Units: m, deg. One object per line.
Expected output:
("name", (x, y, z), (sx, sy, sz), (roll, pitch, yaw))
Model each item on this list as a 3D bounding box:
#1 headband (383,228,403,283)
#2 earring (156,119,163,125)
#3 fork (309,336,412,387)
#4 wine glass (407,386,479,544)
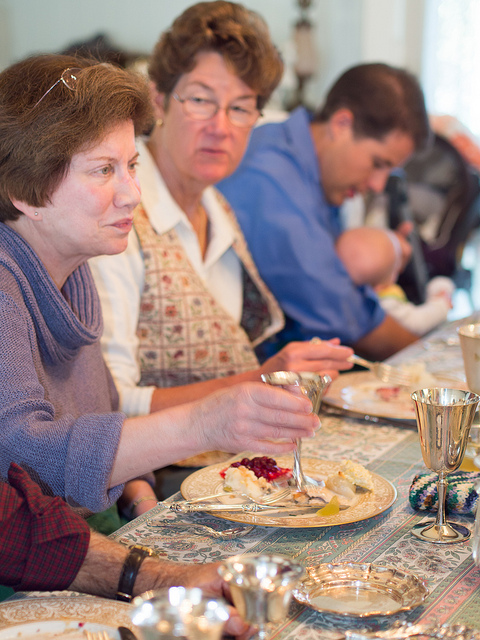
("headband", (0.521, -0.207, 1.934), (0.053, 0.228, 0.425), (-2, 12, 16))
("earring", (-0.224, -0.551, 1.599), (0.007, 0.012, 0.027), (-15, 15, -34))
("fork", (0.339, 0.117, 1.621), (0.383, 0.049, 0.046), (16, -4, 32))
("wine glass", (0.288, 0.205, 0.812), (0.109, 0.230, 0.090), (-15, 16, -35))
